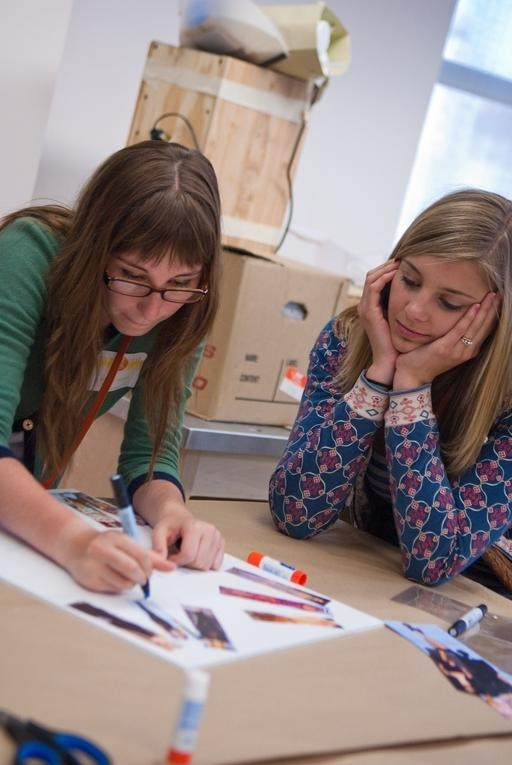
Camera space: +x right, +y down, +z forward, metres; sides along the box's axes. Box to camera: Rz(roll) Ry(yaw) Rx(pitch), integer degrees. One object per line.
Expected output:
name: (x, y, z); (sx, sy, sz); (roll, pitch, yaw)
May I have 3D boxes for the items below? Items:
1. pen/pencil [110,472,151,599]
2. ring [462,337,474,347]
pen/pencil: (-0.153, 0.191, 0.753); (0.018, 0.154, 0.017); (-19, -1, 6)
ring: (0.424, -0.080, 1.235); (0.022, 0.012, 0.008); (31, 23, 8)
